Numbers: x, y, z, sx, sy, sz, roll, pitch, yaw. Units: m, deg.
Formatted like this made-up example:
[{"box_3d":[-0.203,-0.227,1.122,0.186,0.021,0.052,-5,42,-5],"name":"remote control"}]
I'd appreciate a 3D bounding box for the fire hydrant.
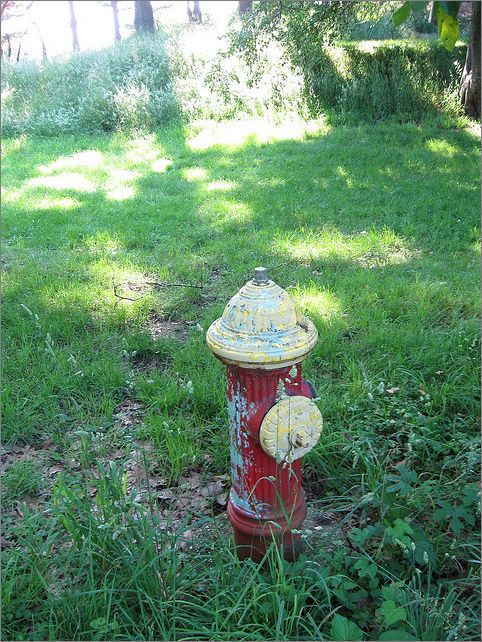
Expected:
[{"box_3d":[0.106,0.360,2.071,0.380,1.069,0.406,-8,16,-4],"name":"fire hydrant"}]
